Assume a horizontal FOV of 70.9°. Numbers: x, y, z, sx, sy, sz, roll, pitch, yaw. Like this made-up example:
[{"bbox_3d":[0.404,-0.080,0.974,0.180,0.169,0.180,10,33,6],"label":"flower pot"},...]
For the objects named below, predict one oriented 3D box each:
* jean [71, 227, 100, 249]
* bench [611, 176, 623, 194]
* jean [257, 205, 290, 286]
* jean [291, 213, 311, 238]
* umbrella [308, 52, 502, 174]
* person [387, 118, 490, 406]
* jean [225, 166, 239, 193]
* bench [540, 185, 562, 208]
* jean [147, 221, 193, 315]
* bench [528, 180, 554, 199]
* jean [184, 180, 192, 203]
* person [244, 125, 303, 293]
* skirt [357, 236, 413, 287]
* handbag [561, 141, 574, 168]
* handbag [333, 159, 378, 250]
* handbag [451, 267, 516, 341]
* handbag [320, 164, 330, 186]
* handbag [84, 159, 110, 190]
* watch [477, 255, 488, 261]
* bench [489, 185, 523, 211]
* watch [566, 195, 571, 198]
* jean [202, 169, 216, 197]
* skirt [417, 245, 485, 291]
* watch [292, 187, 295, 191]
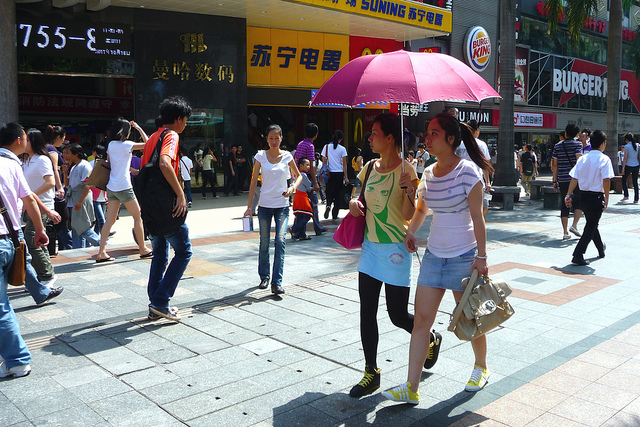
[{"bbox_3d":[-4.598,0.494,8.800,0.636,0.346,0.214,3,10,9],"label":"jean"},{"bbox_3d":[11.312,-1.083,17.133,0.500,0.556,0.512,10,19,41],"label":"bench"},{"bbox_3d":[-0.671,0.496,6.485,0.459,1.165,0.627,-2,10,-8],"label":"jean"},{"bbox_3d":[-0.400,0.258,9.530,0.408,0.580,0.310,-2,10,-6],"label":"jean"},{"bbox_3d":[0.731,-1.131,4.587,1.444,1.002,1.554,-1,22,22],"label":"umbrella"},{"bbox_3d":[1.104,0.417,3.947,0.817,2.450,0.847,3,11,21],"label":"person"},{"bbox_3d":[-3.554,-1.338,17.895,0.520,1.103,0.650,-1,10,-1],"label":"jean"},{"bbox_3d":[6.911,-0.489,13.427,0.628,0.466,0.512,7,11,44],"label":"bench"},{"bbox_3d":[-1.847,0.666,5.511,0.548,1.104,0.353,-1,10,-2],"label":"jean"},{"bbox_3d":[7.668,-0.898,15.620,0.584,0.671,0.982,-12,15,-41],"label":"bench"},{"bbox_3d":[-4.399,-0.721,14.981,0.141,0.816,0.519,-2,10,-9],"label":"jean"},{"bbox_3d":[-0.628,-0.076,6.594,0.698,2.383,0.775,2,2,32],"label":"person"},{"bbox_3d":[0.630,0.412,4.150,0.557,0.439,0.344,8,6,35],"label":"skirt"},{"bbox_3d":[5.410,-1.305,9.903,0.089,0.710,0.088,-11,-16,-18],"label":"handbag"},{"bbox_3d":[0.321,-0.067,4.225,0.400,0.841,0.237,0,10,5],"label":"handbag"},{"bbox_3d":[1.385,0.727,3.865,0.622,0.597,0.256,-18,8,-25],"label":"handbag"},{"bbox_3d":[0.134,-1.079,12.703,0.197,0.497,0.343,0,0,-17],"label":"handbag"},{"bbox_3d":[-3.866,-0.663,7.812,0.266,0.541,0.475,13,-4,33],"label":"handbag"},{"bbox_3d":[1.366,0.375,3.804,0.062,0.037,0.057,-3,3,-5],"label":"watch"},{"bbox_3d":[6.051,-0.525,14.274,0.475,0.721,0.866,1,13,31],"label":"bench"},{"bbox_3d":[4.632,-0.308,8.394,0.043,0.049,0.014,-2,-6,13],"label":"watch"},{"bbox_3d":[-4.383,-1.206,17.711,0.507,1.068,0.779,-3,11,-15],"label":"jean"},{"bbox_3d":[1.145,0.459,4.027,0.507,0.363,0.277,-1,-3,34],"label":"skirt"},{"bbox_3d":[-0.393,-0.362,6.610,0.049,0.050,0.050,-8,25,-8],"label":"watch"}]
